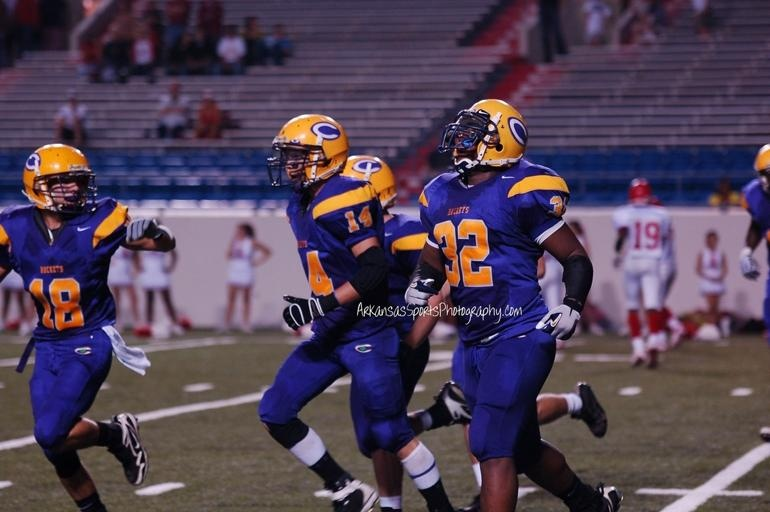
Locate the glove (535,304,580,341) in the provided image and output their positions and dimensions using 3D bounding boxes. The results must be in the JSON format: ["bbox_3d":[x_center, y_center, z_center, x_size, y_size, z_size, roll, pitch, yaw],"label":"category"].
[{"bbox_3d":[1.334,0.500,10.146,0.334,0.273,0.175,0,-1,6],"label":"glove"}]

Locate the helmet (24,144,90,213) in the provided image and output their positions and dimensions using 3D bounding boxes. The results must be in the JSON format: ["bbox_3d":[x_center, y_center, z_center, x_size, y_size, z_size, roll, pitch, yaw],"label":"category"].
[{"bbox_3d":[-2.752,-0.676,10.985,0.682,0.475,0.481,15,14,26],"label":"helmet"}]

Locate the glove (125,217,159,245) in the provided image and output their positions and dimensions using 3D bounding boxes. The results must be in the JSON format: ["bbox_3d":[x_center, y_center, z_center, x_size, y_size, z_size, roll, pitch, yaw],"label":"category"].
[{"bbox_3d":[-1.990,-0.216,10.822,0.284,0.196,0.180,0,-1,-13],"label":"glove"}]

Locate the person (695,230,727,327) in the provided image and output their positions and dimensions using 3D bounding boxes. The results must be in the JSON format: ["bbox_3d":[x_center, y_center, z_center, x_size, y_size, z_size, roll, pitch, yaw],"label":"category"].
[{"bbox_3d":[4.407,0.220,17.741,0.436,1.223,1.440,0,-1,14],"label":"person"}]

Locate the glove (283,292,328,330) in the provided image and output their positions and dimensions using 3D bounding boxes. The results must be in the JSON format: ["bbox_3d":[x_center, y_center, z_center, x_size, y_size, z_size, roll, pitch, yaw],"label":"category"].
[{"bbox_3d":[-0.646,0.451,10.551,0.334,0.275,0.258,0,-1,-5],"label":"glove"}]

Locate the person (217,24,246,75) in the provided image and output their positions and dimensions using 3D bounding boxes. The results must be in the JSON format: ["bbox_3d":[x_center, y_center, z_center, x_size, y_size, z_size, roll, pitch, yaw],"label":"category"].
[{"bbox_3d":[-2.485,-3.312,21.194,0.431,0.861,0.788,0,-1,1],"label":"person"}]

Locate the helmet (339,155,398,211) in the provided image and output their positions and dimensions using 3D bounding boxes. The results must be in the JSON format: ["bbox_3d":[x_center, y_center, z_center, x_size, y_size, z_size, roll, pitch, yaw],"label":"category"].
[{"bbox_3d":[-0.153,-0.668,11.283,0.582,0.453,0.428,0,10,0],"label":"helmet"}]

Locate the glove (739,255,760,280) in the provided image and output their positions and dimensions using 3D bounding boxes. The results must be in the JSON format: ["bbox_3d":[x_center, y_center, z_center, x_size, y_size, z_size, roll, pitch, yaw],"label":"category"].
[{"bbox_3d":[3.300,0.102,12.025,0.098,0.206,0.165,-25,-14,23],"label":"glove"}]
